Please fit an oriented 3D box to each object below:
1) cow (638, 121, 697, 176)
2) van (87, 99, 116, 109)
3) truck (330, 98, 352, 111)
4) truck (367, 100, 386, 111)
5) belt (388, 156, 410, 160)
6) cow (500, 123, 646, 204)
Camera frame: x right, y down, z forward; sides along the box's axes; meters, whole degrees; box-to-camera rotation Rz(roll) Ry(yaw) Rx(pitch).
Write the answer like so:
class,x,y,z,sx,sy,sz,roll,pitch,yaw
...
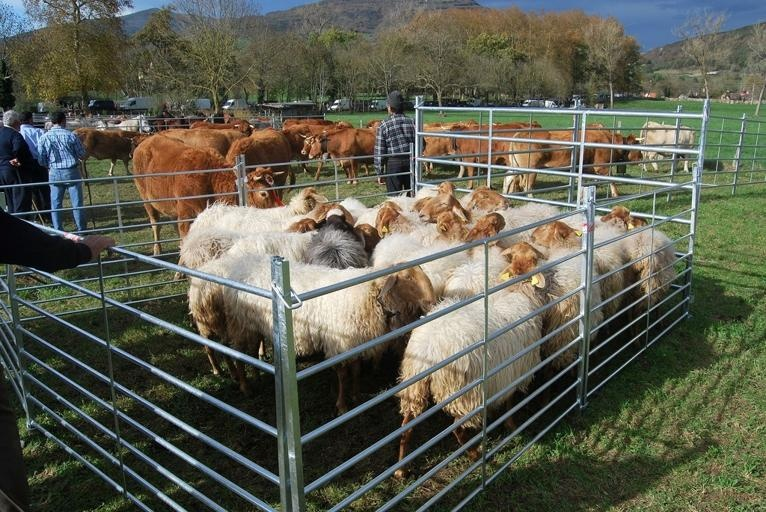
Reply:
class,x,y,z,sx,sy,sz,roll,pitch,yaw
cow,9.835,-3.622,17.903,2.379,1.422,0.652,-3,5,-17
van,-26.480,-14.245,49.046,1.965,1.114,5.012,-8,13,-27
truck,-5.215,-19.208,65.403,1.855,1.692,3.495,6,16,33
truck,-0.821,-18.785,65.145,1.201,1.199,2.225,10,18,38
belt,0.308,-1.953,10.409,0.196,0.055,0.212,1,7,37
cow,5.309,-2.544,14.496,4.158,1.915,0.937,-3,11,-3
